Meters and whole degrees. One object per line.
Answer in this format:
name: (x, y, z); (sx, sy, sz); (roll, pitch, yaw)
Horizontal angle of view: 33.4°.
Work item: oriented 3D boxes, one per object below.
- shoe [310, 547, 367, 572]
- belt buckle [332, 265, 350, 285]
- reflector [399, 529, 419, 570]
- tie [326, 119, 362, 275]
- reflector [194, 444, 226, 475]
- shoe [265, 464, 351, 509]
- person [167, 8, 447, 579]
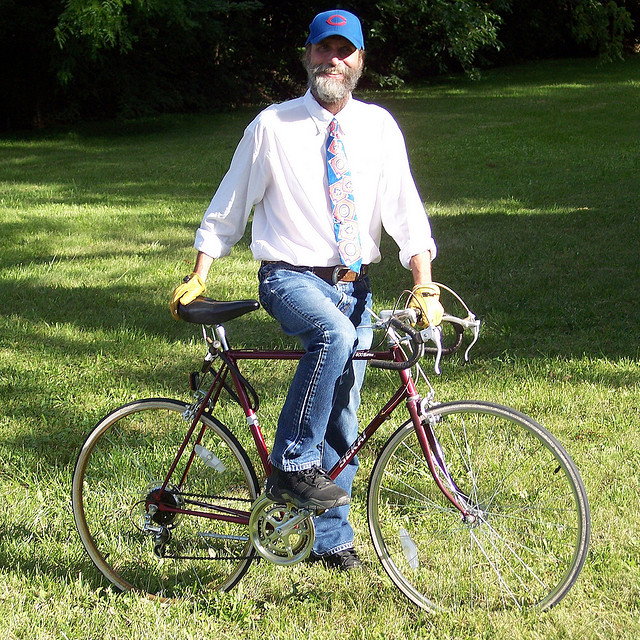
shoe: (0.103, 1.361, 6.168); (0.294, 0.146, 0.112); (3, 10, 18)
belt buckle: (0.128, -0.243, 5.886); (0.100, 0.118, 0.075); (26, 3, 2)
reflector: (0.484, 1.251, 5.848); (0.046, 0.245, 0.068); (-2, -28, -29)
tie: (0.123, -0.642, 5.880); (0.117, 0.935, 0.088); (-9, -4, -3)
reflector: (-0.610, 0.772, 5.986); (0.087, 0.248, 0.058); (-38, 14, 3)
shoe: (-0.073, 0.873, 5.595); (0.428, 0.197, 0.126); (2, 15, 3)
person: (-0.011, -0.124, 5.922); (1.326, 3.057, 1.053); (-1, 15, -8)
